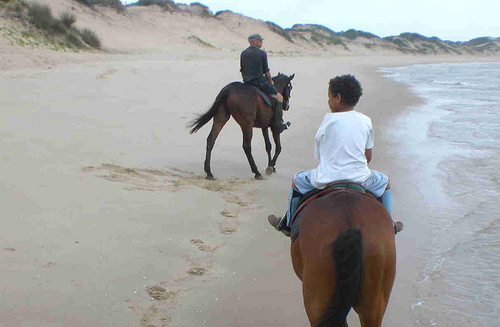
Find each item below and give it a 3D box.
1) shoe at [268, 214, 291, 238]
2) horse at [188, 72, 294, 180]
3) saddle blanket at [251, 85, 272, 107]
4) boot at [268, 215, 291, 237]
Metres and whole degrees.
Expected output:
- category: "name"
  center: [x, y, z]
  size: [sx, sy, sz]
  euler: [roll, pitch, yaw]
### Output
- category: "shoe"
  center: [0.605, 1.231, 13.807]
  size: [0.228, 0.265, 0.632]
  euler: [-2, 25, -25]
- category: "horse"
  center: [-0.076, -1.036, 18.592]
  size: [1.174, 2.876, 4.375]
  euler: [5, 7, 34]
- category: "saddle blanket"
  center: [0.360, -1.784, 18.045]
  size: [0.263, 0.754, 0.196]
  euler: [-52, 20, -11]
- category: "boot"
  center: [0.629, 1.204, 13.791]
  size: [0.227, 0.264, 0.626]
  euler: [-4, 30, -29]
